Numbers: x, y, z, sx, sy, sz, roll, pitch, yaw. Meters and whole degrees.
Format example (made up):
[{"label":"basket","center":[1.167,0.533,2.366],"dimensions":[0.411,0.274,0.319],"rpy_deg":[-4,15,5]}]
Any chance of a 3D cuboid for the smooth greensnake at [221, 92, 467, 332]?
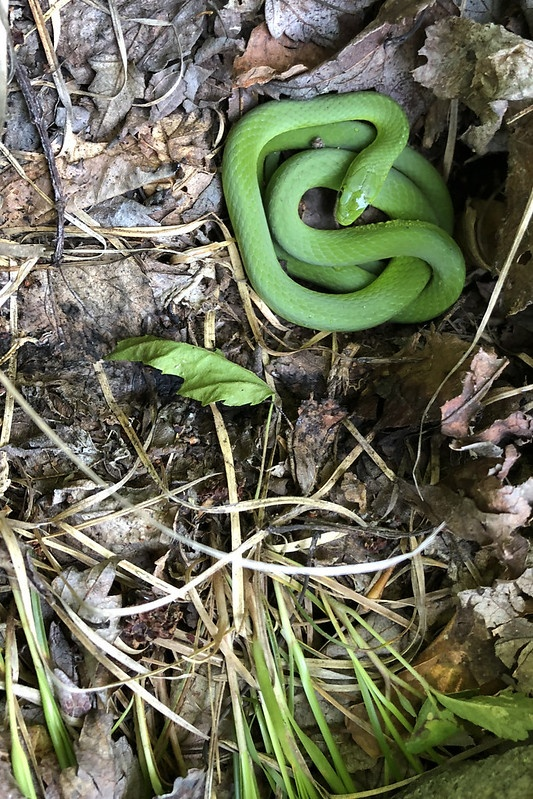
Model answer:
[{"label":"smooth greensnake","center":[0.197,-0.493,1.935],"dimensions":[0.646,0.191,0.638],"rpy_deg":[-17,94,-11]}]
